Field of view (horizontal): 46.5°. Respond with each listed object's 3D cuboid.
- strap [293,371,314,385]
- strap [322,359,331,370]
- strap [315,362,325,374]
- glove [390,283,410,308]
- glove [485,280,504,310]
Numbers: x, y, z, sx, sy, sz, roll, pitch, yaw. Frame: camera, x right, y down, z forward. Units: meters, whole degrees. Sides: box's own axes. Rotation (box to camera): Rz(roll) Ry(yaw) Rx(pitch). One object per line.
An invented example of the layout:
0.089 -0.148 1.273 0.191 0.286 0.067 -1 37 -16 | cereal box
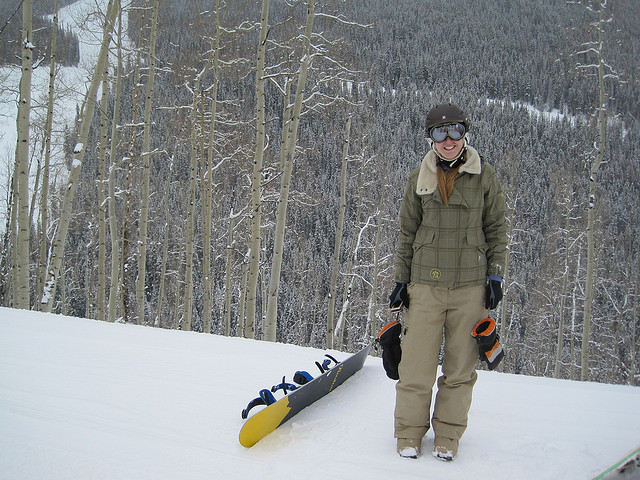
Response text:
-0.357 3.053 16.173 0.461 0.234 0.201 1 30 2 | strap
0.125 2.821 16.415 0.126 0.223 0.197 1 -8 -16 | strap
-0.022 2.864 16.321 0.090 0.391 0.087 -24 22 7 | strap
1.670 1.182 15.642 0.272 0.613 0.160 2 1 7 | glove
3.597 1.178 15.499 0.279 0.647 0.166 0 -5 16 | glove
